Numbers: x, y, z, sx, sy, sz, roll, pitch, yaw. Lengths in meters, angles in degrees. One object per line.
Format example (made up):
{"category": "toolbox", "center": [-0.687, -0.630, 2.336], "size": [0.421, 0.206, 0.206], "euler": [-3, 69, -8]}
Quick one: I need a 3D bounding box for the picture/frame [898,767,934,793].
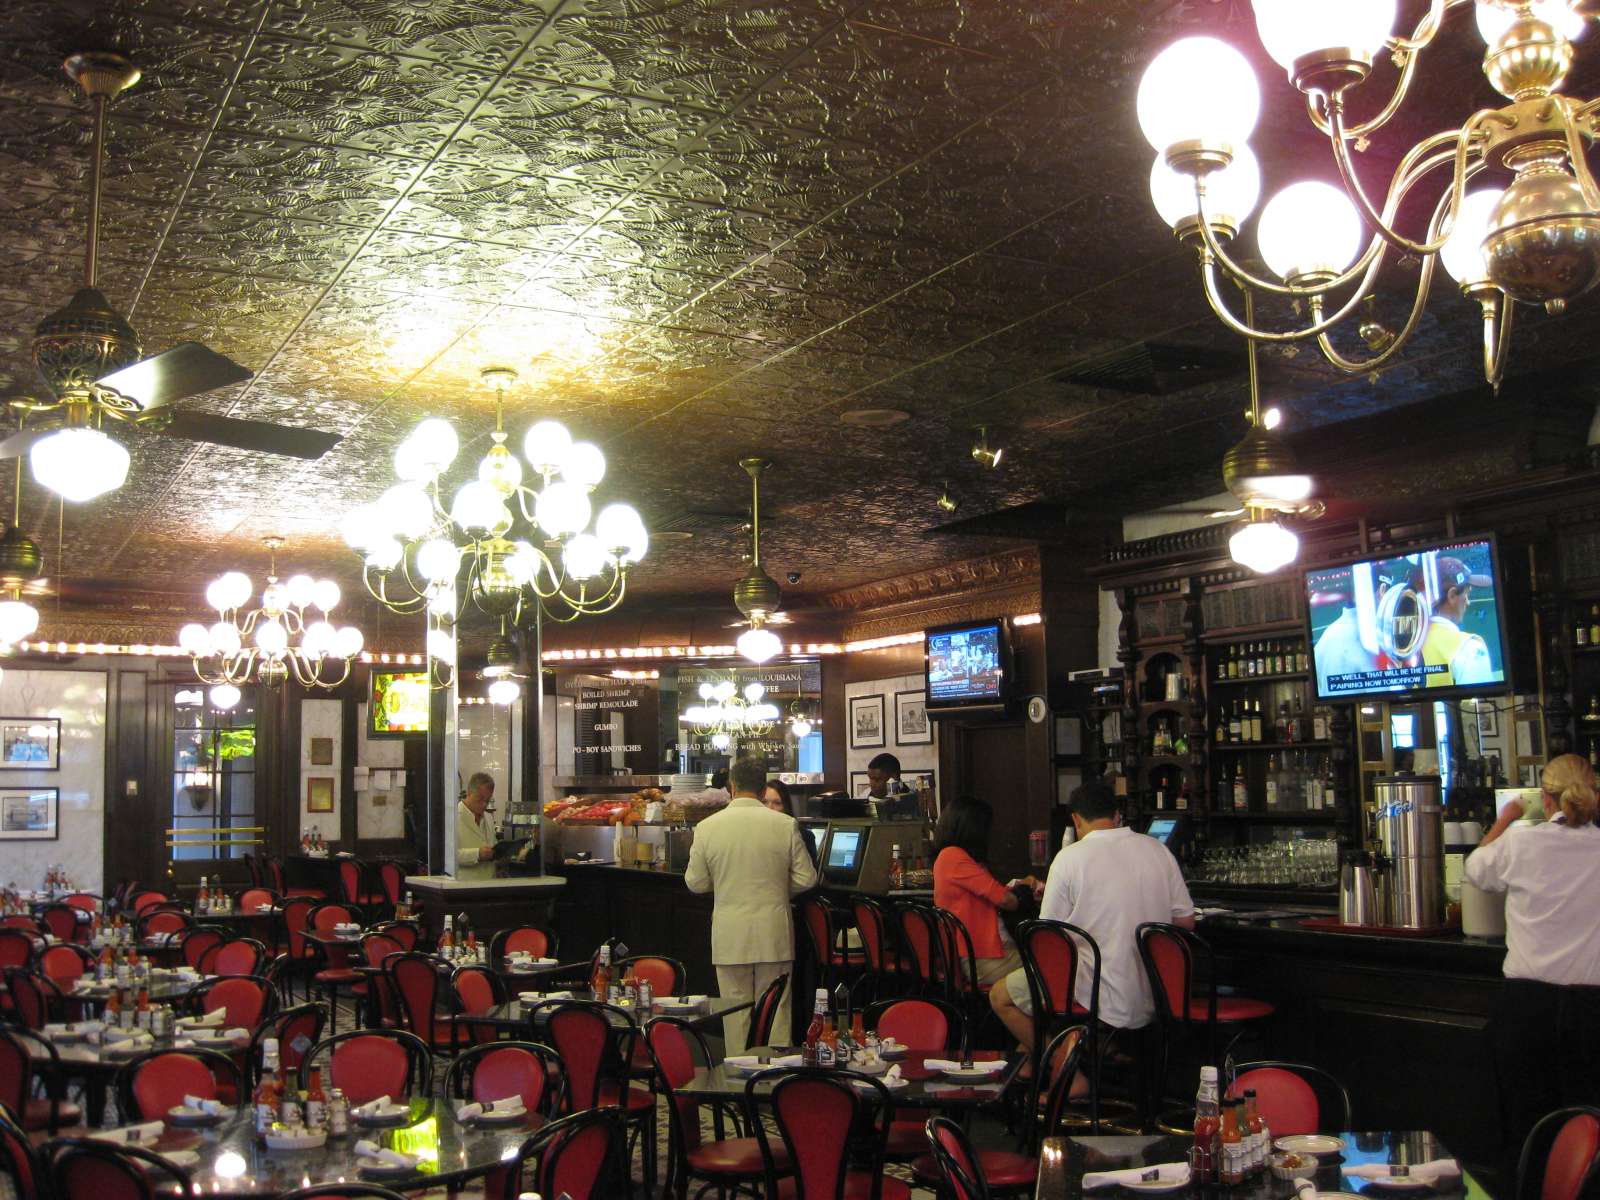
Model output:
{"category": "picture/frame", "center": [1.186, 1.810, 13.994], "size": [0.283, 0.307, 0.526], "euler": [1, -4, -21]}

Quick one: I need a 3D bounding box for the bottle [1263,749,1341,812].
{"category": "bottle", "center": [3.451, 1.228, 9.443], "size": [0.235, 0.630, 0.479], "euler": [7, -7, -29]}

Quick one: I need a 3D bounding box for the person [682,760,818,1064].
{"category": "person", "center": [-0.277, 1.823, 8.165], "size": [0.777, 1.785, 0.595], "euler": [0, 14, 0]}

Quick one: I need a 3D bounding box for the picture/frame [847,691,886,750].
{"category": "picture/frame", "center": [0.763, 1.347, 15.594], "size": [0.033, 0.610, 0.708], "euler": [5, -6, -30]}

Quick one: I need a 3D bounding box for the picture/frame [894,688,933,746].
{"category": "picture/frame", "center": [1.223, 1.237, 14.750], "size": [0.050, 0.619, 0.680], "euler": [6, -9, -29]}

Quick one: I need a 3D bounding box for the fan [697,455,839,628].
{"category": "fan", "center": [-0.287, -0.521, 11.473], "size": [1.064, 1.812, 0.891], "euler": [-1, -15, -2]}

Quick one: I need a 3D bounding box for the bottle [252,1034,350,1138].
{"category": "bottle", "center": [-1.699, 1.655, 4.752], "size": [0.323, 0.285, 0.321], "euler": [2, -7, -12]}

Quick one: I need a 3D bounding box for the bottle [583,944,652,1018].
{"category": "bottle", "center": [-0.851, 1.896, 6.895], "size": [0.348, 0.405, 0.379], "euler": [1, -12, -12]}

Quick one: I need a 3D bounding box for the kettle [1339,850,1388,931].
{"category": "kettle", "center": [2.582, 1.316, 6.324], "size": [0.246, 0.301, 0.217], "euler": [-2, -8, 15]}

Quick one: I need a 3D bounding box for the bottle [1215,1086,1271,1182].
{"category": "bottle", "center": [1.291, 1.530, 3.996], "size": [0.123, 0.225, 0.272], "euler": [-5, -9, 21]}

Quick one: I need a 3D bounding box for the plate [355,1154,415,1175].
{"category": "plate", "center": [-1.296, 1.766, 4.317], "size": [0.187, 0.038, 0.109], "euler": [-2, -9, 3]}

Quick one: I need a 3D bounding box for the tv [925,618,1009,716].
{"category": "tv", "center": [1.725, 0.653, 13.436], "size": [0.412, 0.864, 1.107], "euler": [3, -7, -40]}

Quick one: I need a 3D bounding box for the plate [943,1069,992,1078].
{"category": "plate", "center": [0.634, 1.761, 5.181], "size": [0.165, 0.030, 0.082], "euler": [-2, -9, 3]}

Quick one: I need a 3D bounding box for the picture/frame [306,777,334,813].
{"category": "picture/frame", "center": [-5.507, 2.221, 15.866], "size": [0.303, 0.374, 0.025], "euler": [3, -10, -29]}

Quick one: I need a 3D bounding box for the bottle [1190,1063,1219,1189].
{"category": "bottle", "center": [1.152, 1.479, 3.934], "size": [0.092, 0.327, 0.219], "euler": [-4, -9, 15]}

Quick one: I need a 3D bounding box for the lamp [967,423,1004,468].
{"category": "lamp", "center": [1.127, -0.956, 8.387], "size": [0.233, 0.289, 0.216], "euler": [1, -18, -2]}

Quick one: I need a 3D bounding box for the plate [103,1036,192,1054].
{"category": "plate", "center": [-2.911, 1.968, 6.138], "size": [0.251, 0.045, 0.279], "euler": [2, -12, -5]}

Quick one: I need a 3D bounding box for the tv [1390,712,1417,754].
{"category": "tv", "center": [3.769, 0.806, 8.626], "size": [0.072, 0.232, 0.195], "euler": [1, -9, -16]}
